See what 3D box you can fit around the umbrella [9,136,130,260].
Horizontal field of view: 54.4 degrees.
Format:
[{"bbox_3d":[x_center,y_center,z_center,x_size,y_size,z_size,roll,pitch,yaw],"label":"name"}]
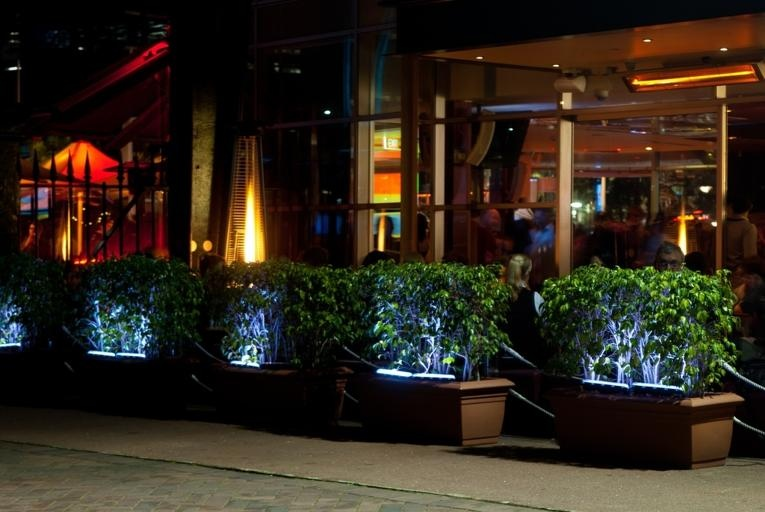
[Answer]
[{"bbox_3d":[-7.354,-1.326,17.689,3.401,2.849,3.518,4,7,42],"label":"umbrella"}]
